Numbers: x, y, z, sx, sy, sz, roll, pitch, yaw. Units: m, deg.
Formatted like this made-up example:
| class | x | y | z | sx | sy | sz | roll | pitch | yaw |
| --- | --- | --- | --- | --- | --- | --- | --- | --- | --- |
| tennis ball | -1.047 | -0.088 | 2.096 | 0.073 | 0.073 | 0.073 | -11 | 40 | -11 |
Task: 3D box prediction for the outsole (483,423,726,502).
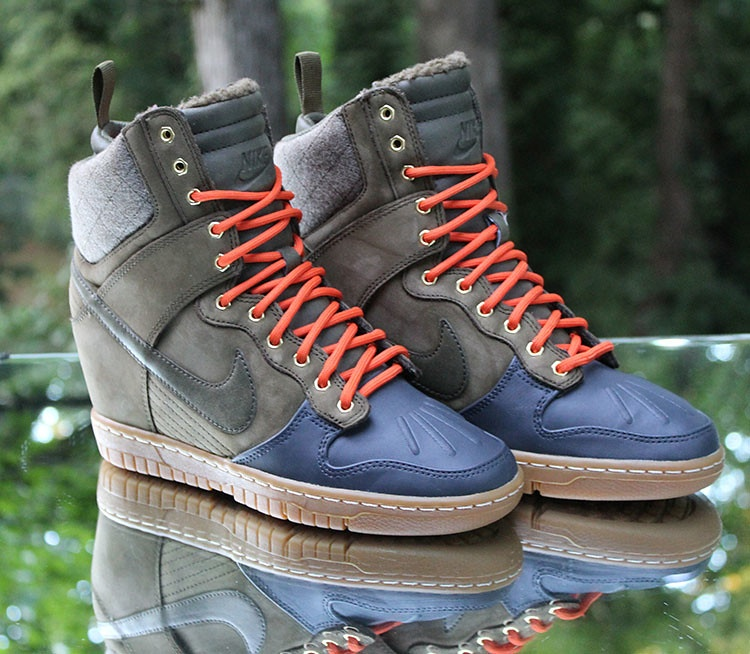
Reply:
| class | x | y | z | sx | sy | sz | roll | pitch | yaw |
| --- | --- | --- | --- | --- | --- | --- | --- | --- | --- |
| outsole | 0.371 | 0.186 | 1.146 | 0.165 | 0.397 | 0.115 | 17 | 76 | -23 |
